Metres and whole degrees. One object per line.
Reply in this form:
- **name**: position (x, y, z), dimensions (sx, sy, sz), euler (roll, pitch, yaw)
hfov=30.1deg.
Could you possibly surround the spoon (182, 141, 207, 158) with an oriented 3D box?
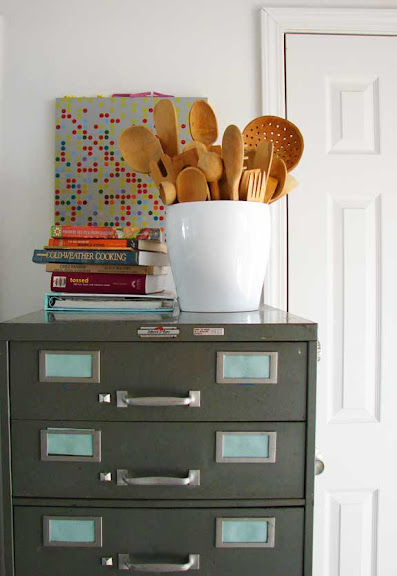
- **spoon**: position (-0.006, -0.266, 1.417), dimensions (0.048, 0.041, 0.076), euler (0, 0, 1)

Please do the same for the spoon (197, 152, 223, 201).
- **spoon**: position (0.026, -0.212, 1.389), dimensions (0.049, 0.090, 0.027), euler (0, 0, -30)

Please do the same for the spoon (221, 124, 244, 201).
- **spoon**: position (0.064, -0.236, 1.358), dimensions (0.034, 0.147, 0.024), euler (5, 21, 15)

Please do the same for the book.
- **book**: position (-0.189, -0.039, 1.442), dimensions (0.185, 0.119, 0.227), euler (0, 1, 2)

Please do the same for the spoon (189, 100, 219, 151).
- **spoon**: position (0.010, -0.326, 1.456), dimensions (0.056, 0.099, 0.102), euler (0, 0, -1)

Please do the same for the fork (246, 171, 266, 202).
- **fork**: position (0.109, -0.192, 1.391), dimensions (0.033, 0.064, 0.015), euler (2, 2, -9)

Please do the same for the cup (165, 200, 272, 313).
- **cup**: position (0.037, -0.058, 1.482), dimensions (0.221, 0.215, 0.240), euler (-1, 2, 0)

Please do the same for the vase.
- **vase**: position (0.032, -0.050, 1.463), dimensions (0.217, 0.196, 0.196), euler (0, -3, -6)
